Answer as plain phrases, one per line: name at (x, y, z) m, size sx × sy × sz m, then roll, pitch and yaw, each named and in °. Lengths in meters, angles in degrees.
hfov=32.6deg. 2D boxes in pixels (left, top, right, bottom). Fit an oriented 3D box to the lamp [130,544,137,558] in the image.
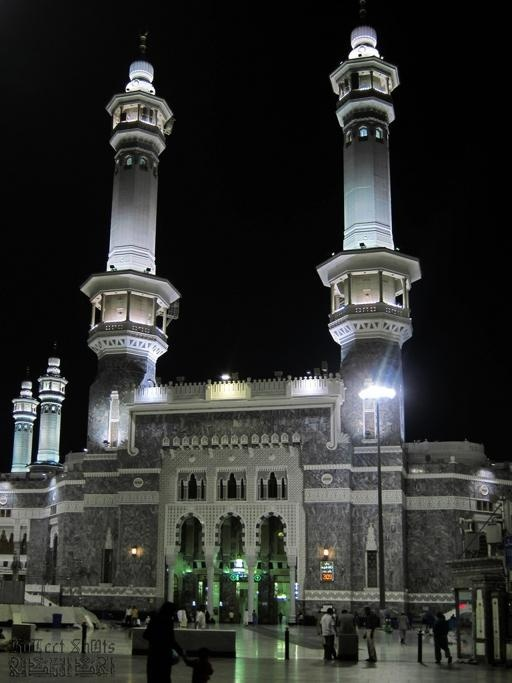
lamp at (-5.762, 9.915, 41.519) m, size 0.335 × 0.685 × 0.352 m, roll -2°, pitch -18°, yaw -3°
